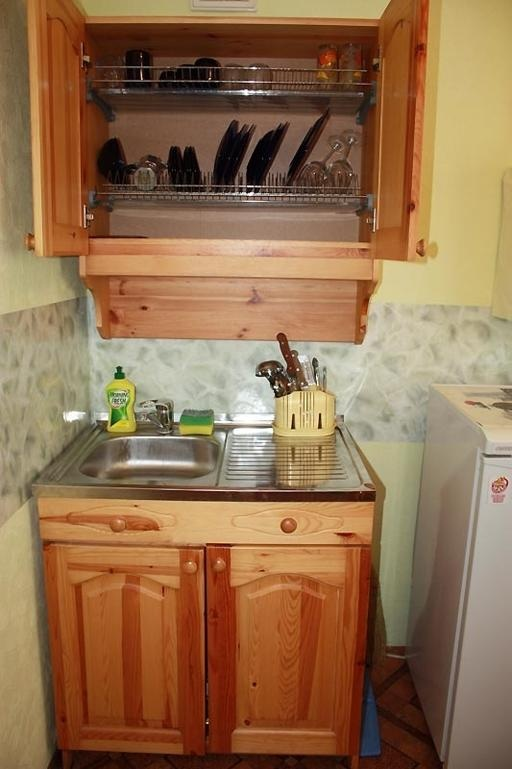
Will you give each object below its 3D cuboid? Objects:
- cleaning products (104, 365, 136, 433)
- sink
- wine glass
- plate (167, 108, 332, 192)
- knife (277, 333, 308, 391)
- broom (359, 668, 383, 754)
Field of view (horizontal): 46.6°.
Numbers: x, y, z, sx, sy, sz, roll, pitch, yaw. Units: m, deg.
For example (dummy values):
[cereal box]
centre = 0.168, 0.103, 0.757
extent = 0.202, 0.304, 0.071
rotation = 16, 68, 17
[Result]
[cleaning products]
centre = -0.407, 0.037, 1.798
extent = 0.087, 0.191, 0.159
rotation = -2, 12, -12
[sink]
centre = -0.297, 0.218, 1.686
extent = 0.373, 0.122, 0.170
rotation = -3, 13, -15
[wine glass]
centre = 0.201, -0.593, 1.585
extent = 0.115, 0.094, 0.267
rotation = 25, 58, 9
[plate]
centre = -0.035, -0.617, 1.593
extent = 0.398, 0.202, 0.325
rotation = 0, 12, -5
[knife]
centre = 0.105, -0.061, 1.661
extent = 0.055, 0.198, 0.005
rotation = -8, -31, -20
[broom]
centre = 0.313, 0.915, 1.671
extent = 0.051, 0.245, 0.024
rotation = 0, -2, -8
